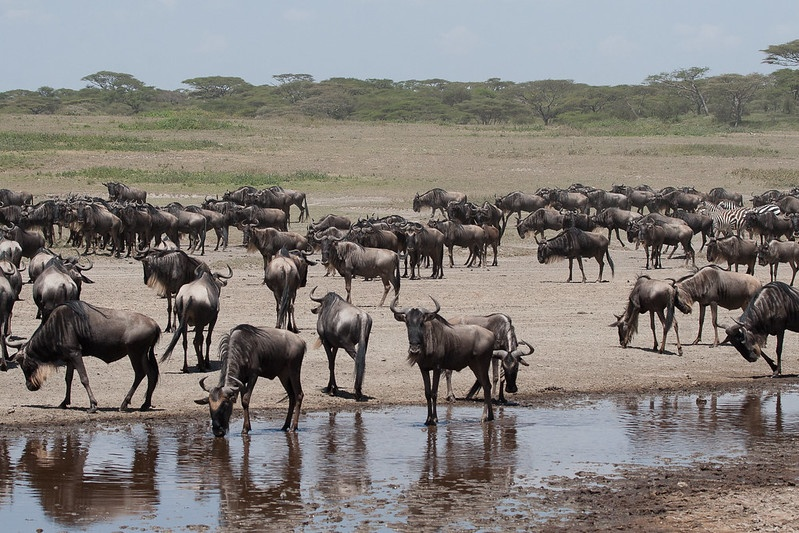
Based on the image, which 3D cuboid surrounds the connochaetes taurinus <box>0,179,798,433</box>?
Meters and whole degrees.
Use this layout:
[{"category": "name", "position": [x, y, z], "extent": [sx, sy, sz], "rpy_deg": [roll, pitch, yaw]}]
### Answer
[{"category": "connochaetes taurinus", "position": [-0.082, 1.149, 33.190], "extent": [19.377, 1.354, 16.625], "rpy_deg": [-3, 14, -14]}]
